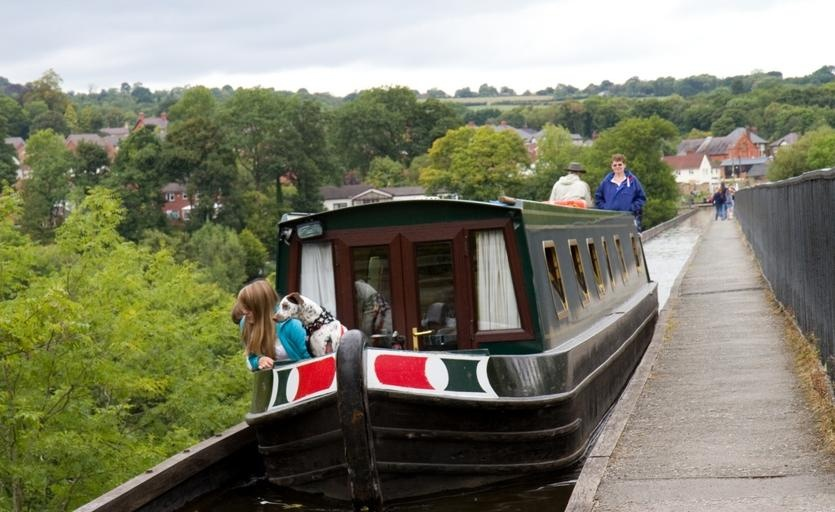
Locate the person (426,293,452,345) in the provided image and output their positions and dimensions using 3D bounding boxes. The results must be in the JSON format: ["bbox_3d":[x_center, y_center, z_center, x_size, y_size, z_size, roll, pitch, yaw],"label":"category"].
[{"bbox_3d":[0.385,1.077,17.096,0.529,0.684,0.698,-2,-6,7],"label":"person"}]

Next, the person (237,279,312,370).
[{"bbox_3d":[-2.231,1.066,16.969,1.308,1.439,0.911,4,18,10],"label":"person"}]
